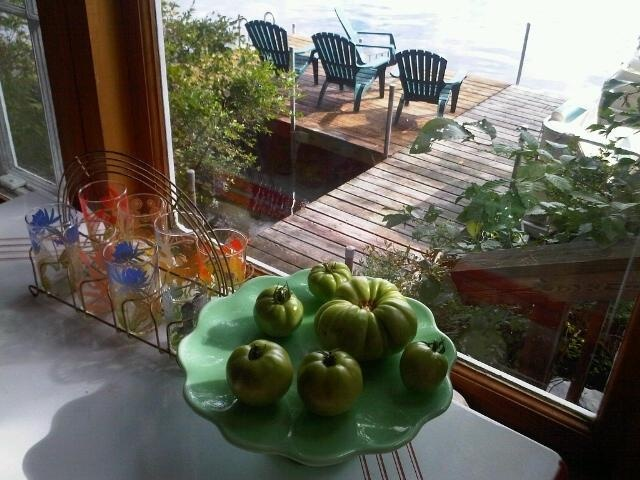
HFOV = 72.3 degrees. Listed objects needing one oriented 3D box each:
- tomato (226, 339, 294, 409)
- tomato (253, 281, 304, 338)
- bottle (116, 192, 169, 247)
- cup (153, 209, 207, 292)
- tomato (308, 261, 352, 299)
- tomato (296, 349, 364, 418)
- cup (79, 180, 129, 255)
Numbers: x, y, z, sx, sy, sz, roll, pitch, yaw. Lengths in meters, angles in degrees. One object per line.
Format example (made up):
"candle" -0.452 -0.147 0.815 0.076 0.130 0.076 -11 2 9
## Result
"tomato" -0.079 0.194 0.665 0.087 0.093 0.089 -3 39 7
"tomato" -0.066 0.116 0.750 0.075 0.103 0.080 10 23 29
"bottle" -0.429 -0.064 1.103 0.120 0.100 0.131 5 40 -5
"cup" -0.305 0.029 0.951 0.080 0.119 0.135 -26 51 -27
"tomato" 0.013 0.063 0.806 0.067 0.071 0.067 -12 16 -12
"tomato" 0.014 0.196 0.651 0.085 0.084 0.087 -1 11 0
"cup" -0.504 -0.051 1.029 0.100 0.166 0.106 8 39 -6
